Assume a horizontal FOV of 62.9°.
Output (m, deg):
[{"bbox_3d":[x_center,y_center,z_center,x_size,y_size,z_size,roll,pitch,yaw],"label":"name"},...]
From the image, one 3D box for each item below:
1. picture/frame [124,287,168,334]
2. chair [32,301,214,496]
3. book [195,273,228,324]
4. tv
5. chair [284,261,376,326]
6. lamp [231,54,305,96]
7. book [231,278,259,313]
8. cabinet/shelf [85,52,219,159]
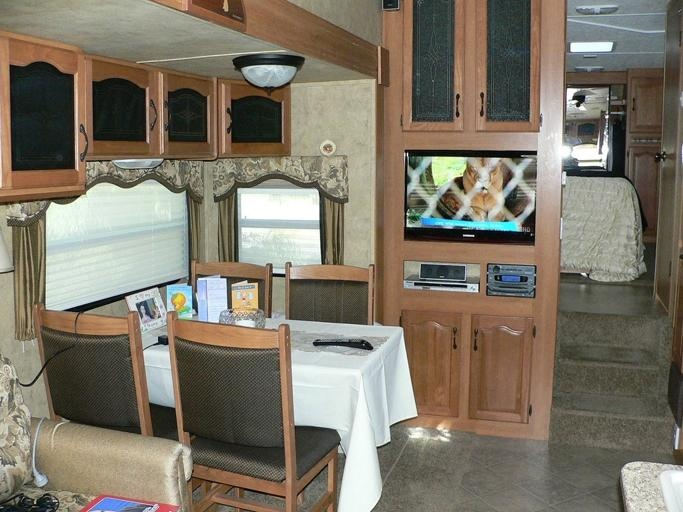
[{"bbox_3d":[-1.109,0.319,3.226,0.251,0.213,0.022,-19,-3,34],"label":"picture/frame"},{"bbox_3d":[-1.077,0.778,2.945,0.810,1.099,0.790,-1,10,-6],"label":"chair"},{"bbox_3d":[-0.795,0.255,3.310,0.179,0.284,0.206,0,10,-18],"label":"book"},{"bbox_3d":[1.007,-0.458,4.187,0.726,0.486,0.030,3,5,13],"label":"tv"},{"bbox_3d":[-0.035,0.212,3.912,0.456,0.777,0.460,1,4,14],"label":"chair"},{"bbox_3d":[-0.404,-1.035,3.221,0.426,0.172,0.424,9,12,32],"label":"lamp"},{"bbox_3d":[-0.562,0.233,3.185,0.153,0.153,0.035,3,3,-28],"label":"book"},{"bbox_3d":[-1.135,-0.846,3.327,0.176,0.504,1.073,10,14,25],"label":"cabinet/shelf"}]
